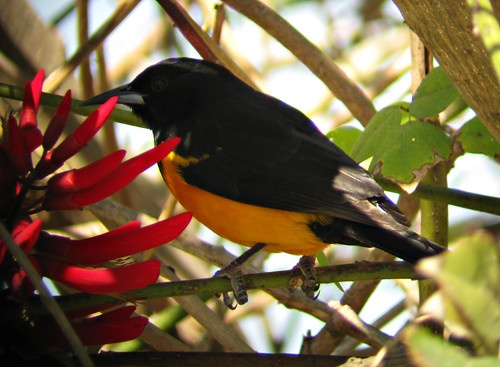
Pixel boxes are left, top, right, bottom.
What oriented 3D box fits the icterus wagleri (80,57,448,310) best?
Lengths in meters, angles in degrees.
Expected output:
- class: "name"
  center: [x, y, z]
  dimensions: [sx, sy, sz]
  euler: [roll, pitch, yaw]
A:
- class: "icterus wagleri"
  center: [0.039, -0.057, 2.300]
  dimensions: [1.084, 0.750, 0.360]
  euler: [6, -15, 5]
